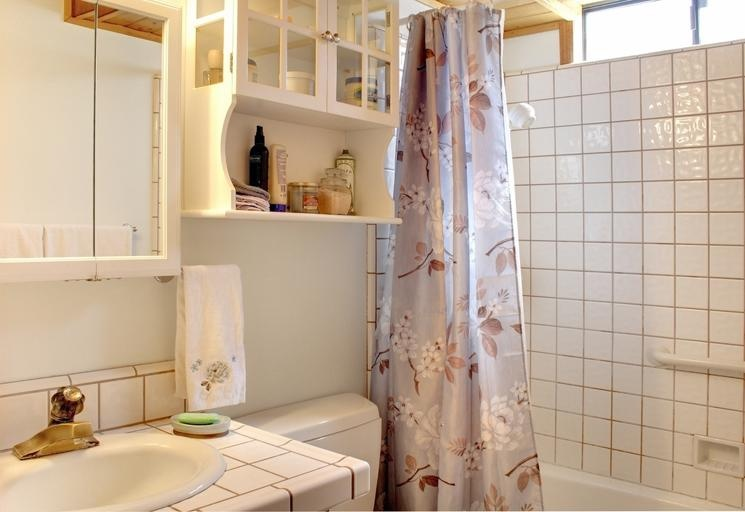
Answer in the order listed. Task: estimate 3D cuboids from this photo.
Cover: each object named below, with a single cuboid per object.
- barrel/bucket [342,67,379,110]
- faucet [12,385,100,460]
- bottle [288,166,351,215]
[{"bbox_3d":[-0.036,-0.640,2.118,0.154,0.170,0.159,-3,8,1],"label":"barrel/bucket"},{"bbox_3d":[-0.914,0.479,1.552,0.078,0.168,0.191,-4,-6,41],"label":"faucet"},{"bbox_3d":[-0.208,-0.251,2.066,0.235,0.174,0.147,2,-1,-8],"label":"bottle"}]
